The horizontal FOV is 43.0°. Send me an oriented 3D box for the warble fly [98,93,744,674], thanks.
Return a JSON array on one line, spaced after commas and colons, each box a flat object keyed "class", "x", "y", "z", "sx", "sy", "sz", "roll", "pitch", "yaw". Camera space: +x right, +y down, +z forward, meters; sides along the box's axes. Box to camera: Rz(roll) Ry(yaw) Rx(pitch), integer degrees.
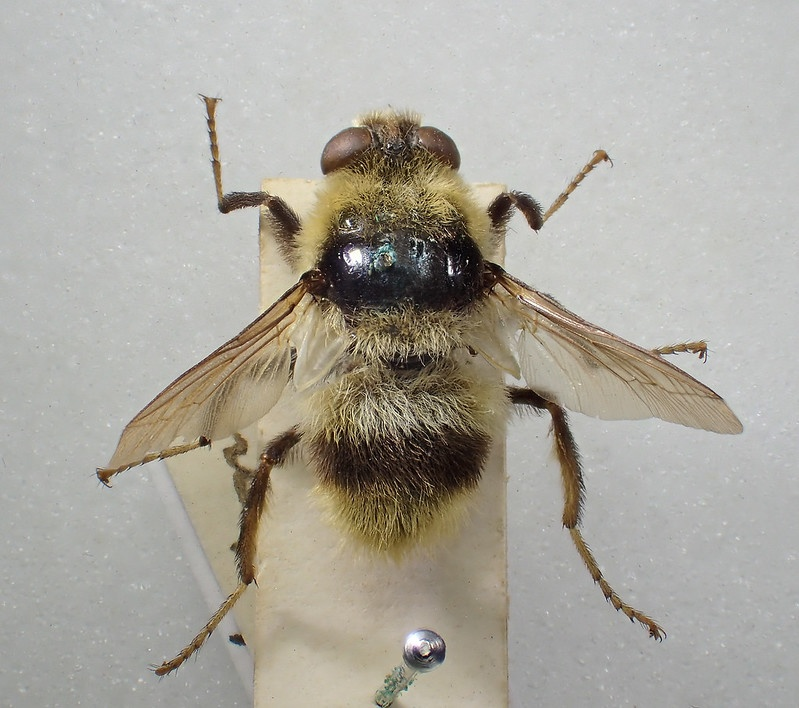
[{"class": "warble fly", "x": 0.014, "y": 0.097, "z": 1.824, "sx": 1.139, "sy": 0.306, "sz": 0.918, "roll": -2, "pitch": 73, "yaw": 0}]
